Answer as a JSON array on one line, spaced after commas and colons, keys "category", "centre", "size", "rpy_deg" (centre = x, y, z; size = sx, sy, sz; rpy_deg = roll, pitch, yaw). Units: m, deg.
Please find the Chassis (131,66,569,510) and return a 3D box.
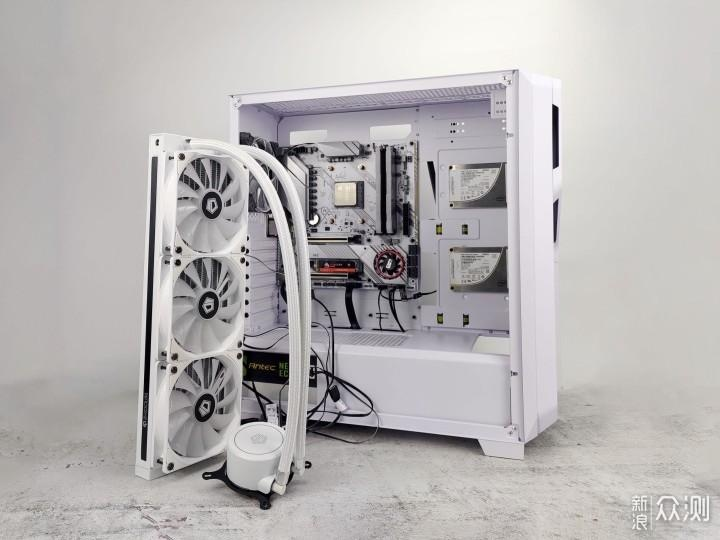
[{"category": "Chassis", "centre": [0.065, -0.081, 4.281], "size": [2.546, 2.619, 2.111], "rpy_deg": [-2, 6, 2]}]
